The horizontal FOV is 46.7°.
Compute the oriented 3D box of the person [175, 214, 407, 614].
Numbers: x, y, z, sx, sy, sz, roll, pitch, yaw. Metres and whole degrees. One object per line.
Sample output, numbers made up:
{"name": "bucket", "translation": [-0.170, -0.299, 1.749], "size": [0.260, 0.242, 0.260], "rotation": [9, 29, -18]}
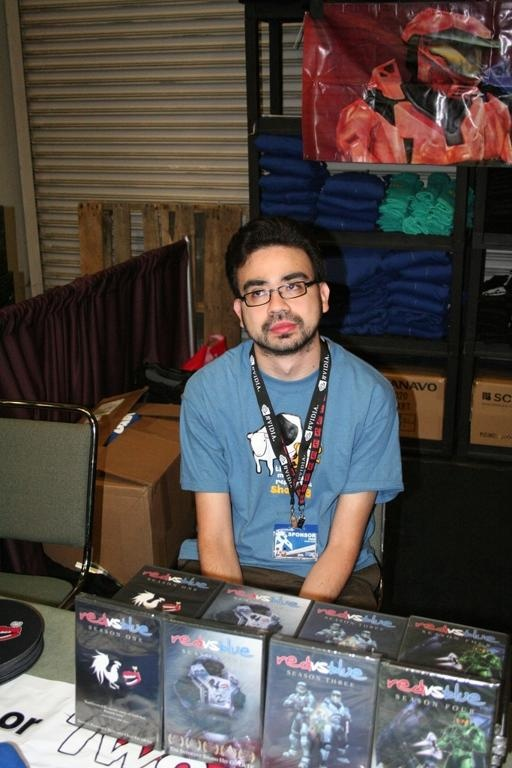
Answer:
{"name": "person", "translation": [0.077, 0.110, 1.531], "size": [0.604, 1.020, 0.602], "rotation": [12, 20, 43]}

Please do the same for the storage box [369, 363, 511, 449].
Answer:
{"name": "storage box", "translation": [1.133, 0.119, 3.356], "size": [0.749, 0.415, 0.374], "rotation": [6, 6, 11]}

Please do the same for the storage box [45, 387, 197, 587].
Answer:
{"name": "storage box", "translation": [-0.495, 0.401, 2.164], "size": [0.326, 0.570, 0.587], "rotation": [8, 29, 11]}

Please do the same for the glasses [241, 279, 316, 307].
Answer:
{"name": "glasses", "translation": [0.055, -0.223, 1.477], "size": [0.185, 0.071, 0.060], "rotation": [2, 8, 2]}
